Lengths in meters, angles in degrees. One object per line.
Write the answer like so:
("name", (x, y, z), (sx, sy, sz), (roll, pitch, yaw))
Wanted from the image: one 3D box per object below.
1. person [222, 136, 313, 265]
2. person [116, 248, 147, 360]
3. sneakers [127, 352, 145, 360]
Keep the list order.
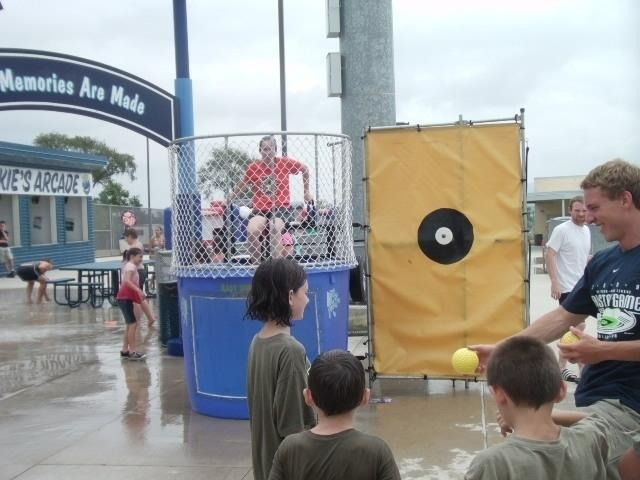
("person", (-0.508, -0.415, 7.013), (0.867, 1.318, 0.495), (-2, -1, -4))
("person", (-2.805, 0.927, 9.859), (0.365, 1.591, 1.223), (-2, -2, -15))
("sneakers", (-2.634, 1.658, 9.520), (0.225, 0.100, 0.108), (-2, -1, -2))
